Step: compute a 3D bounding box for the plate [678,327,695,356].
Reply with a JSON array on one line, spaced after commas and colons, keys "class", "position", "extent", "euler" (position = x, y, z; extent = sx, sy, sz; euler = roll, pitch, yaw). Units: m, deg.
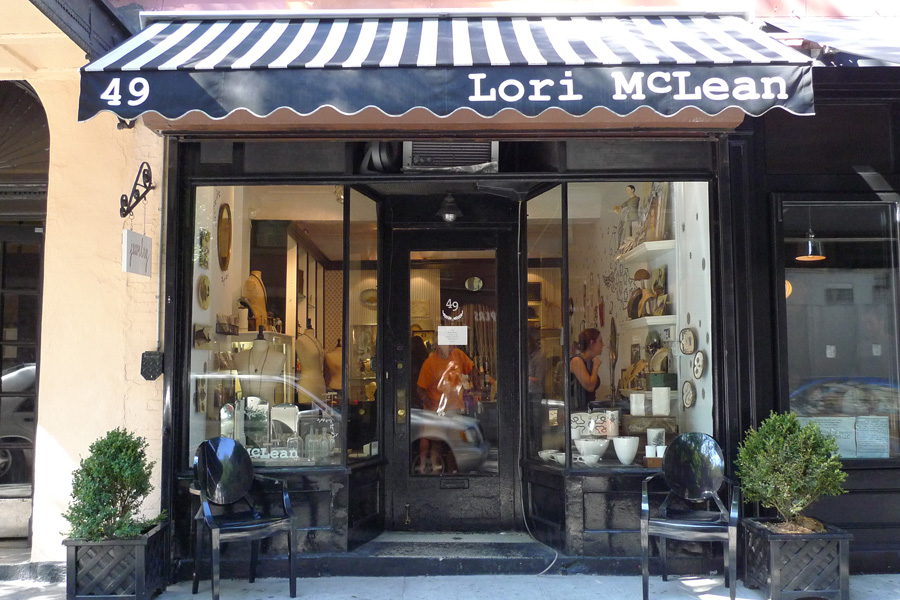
[{"class": "plate", "position": [2.213, 0.393, 8.393], "extent": [0.199, 0.248, 0.046], "euler": [-13, -12, 23]}]

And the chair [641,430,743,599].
[{"class": "chair", "position": [2.094, 1.858, 7.846], "extent": [0.853, 1.373, 0.845], "euler": [-4, -6, 17]}]

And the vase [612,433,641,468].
[{"class": "vase", "position": [1.637, 1.382, 8.305], "extent": [0.227, 0.256, 0.232], "euler": [7, -16, -19]}]

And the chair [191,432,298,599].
[{"class": "chair", "position": [-1.795, 1.873, 7.835], "extent": [0.879, 1.372, 0.791], "euler": [-1, -6, -17]}]

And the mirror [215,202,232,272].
[{"class": "mirror", "position": [-2.118, -0.590, 8.444], "extent": [0.129, 0.623, 0.134], "euler": [-1, -6, -18]}]

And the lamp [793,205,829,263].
[{"class": "lamp", "position": [3.375, -0.606, 8.403], "extent": [0.313, 0.515, 0.123], "euler": [0, -6, -22]}]

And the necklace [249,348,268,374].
[{"class": "necklace", "position": [-1.793, 0.571, 8.467], "extent": [0.104, 0.218, 0.047], "euler": [5, 1, 3]}]

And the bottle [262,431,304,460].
[{"class": "bottle", "position": [-1.528, 1.344, 8.294], "extent": [0.269, 0.210, 0.209], "euler": [-2, -4, 19]}]

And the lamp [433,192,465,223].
[{"class": "lamp", "position": [-0.004, -0.931, 9.170], "extent": [0.245, 0.310, 0.276], "euler": [0, -8, 5]}]

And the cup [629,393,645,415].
[{"class": "cup", "position": [1.741, 0.976, 8.397], "extent": [0.170, 0.253, 0.131], "euler": [0, -8, -1]}]

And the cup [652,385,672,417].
[{"class": "cup", "position": [1.972, 0.938, 8.397], "extent": [0.214, 0.423, 0.238], "euler": [0, -3, 8]}]

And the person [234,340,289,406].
[{"class": "person", "position": [-1.774, 0.704, 8.441], "extent": [0.527, 0.838, 0.303], "euler": [0, -7, -4]}]

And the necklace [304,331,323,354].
[{"class": "necklace", "position": [-1.302, 0.408, 8.499], "extent": [0.116, 0.227, 0.177], "euler": [-8, -7, 30]}]

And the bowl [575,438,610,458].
[{"class": "bowl", "position": [1.324, 1.351, 8.333], "extent": [0.188, 0.120, 0.188], "euler": [-3, -8, 0]}]

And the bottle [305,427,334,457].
[{"class": "bottle", "position": [-1.191, 1.322, 8.431], "extent": [0.338, 0.351, 0.190], "euler": [0, -3, 0]}]

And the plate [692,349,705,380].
[{"class": "plate", "position": [2.303, 0.602, 8.318], "extent": [0.049, 0.294, 0.241], "euler": [6, -7, -20]}]

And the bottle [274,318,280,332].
[{"class": "bottle", "position": [-1.617, 0.233, 8.470], "extent": [0.078, 0.142, 0.005], "euler": [-3, -6, 6]}]

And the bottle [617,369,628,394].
[{"class": "bottle", "position": [1.605, 0.759, 8.405], "extent": [0.055, 0.174, 0.117], "euler": [1, -6, 3]}]

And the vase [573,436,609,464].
[{"class": "vase", "position": [1.312, 1.386, 8.320], "extent": [0.233, 0.183, 0.245], "euler": [0, -9, 4]}]

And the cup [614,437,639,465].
[{"class": "cup", "position": [1.605, 1.404, 8.365], "extent": [0.220, 0.249, 0.220], "euler": [2, -16, 1]}]
